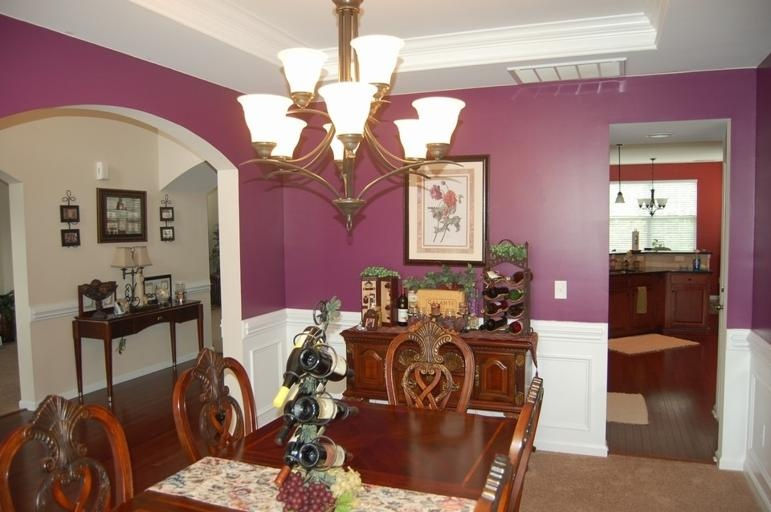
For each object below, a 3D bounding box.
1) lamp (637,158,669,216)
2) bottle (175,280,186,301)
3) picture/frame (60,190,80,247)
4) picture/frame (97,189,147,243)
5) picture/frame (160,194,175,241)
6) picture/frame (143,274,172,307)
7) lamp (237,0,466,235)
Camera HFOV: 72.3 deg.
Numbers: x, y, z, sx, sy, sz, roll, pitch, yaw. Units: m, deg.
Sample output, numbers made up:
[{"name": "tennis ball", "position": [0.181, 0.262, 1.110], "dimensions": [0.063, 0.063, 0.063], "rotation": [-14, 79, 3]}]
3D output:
[{"name": "lamp", "position": [5.707, -1.435, 11.236], "dimensions": [0.526, 1.256, 0.816], "rotation": [5, 13, 27]}, {"name": "bottle", "position": [-2.825, 0.493, 7.254], "dimensions": [0.135, 0.235, 0.322], "rotation": [-6, 12, -25]}, {"name": "picture/frame", "position": [-3.857, -0.448, 6.444], "dimensions": [0.103, 0.697, 0.278], "rotation": [4, 12, 21]}, {"name": "picture/frame", "position": [-3.494, -0.536, 6.921], "dimensions": [0.060, 0.823, 0.729], "rotation": [1, 3, 36]}, {"name": "picture/frame", "position": [-3.098, -0.539, 7.488], "dimensions": [0.134, 0.666, 0.290], "rotation": [2, 12, 12]}, {"name": "picture/frame", "position": [-3.117, 0.467, 7.164], "dimensions": [0.033, 0.340, 0.407], "rotation": [0, 3, 27]}, {"name": "lamp", "position": [-0.270, -0.910, 4.098], "dimensions": [1.968, 1.866, 1.943], "rotation": [-1, 0, -2]}]
